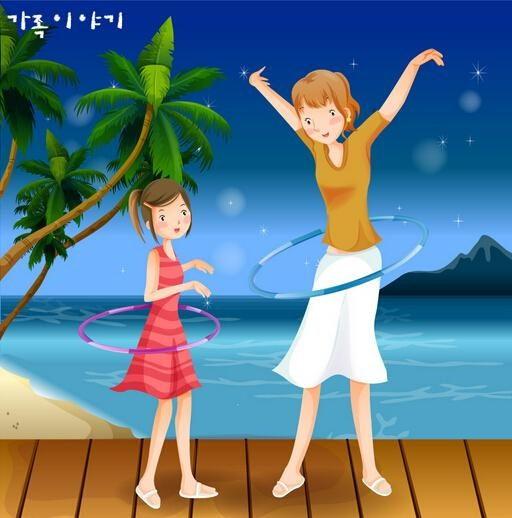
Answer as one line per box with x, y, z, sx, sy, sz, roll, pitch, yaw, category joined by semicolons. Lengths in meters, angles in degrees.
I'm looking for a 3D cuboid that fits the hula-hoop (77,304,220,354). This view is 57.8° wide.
-0.613;0.378;2.627;0.823;0.329;0.591;3;-15;-4;hula-hoop
